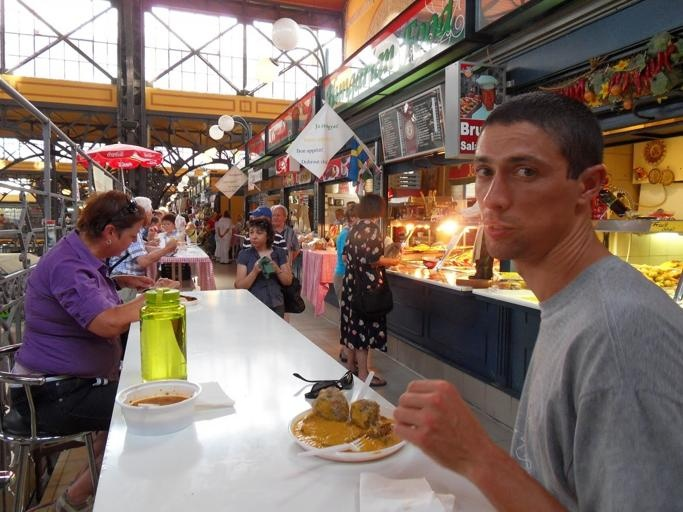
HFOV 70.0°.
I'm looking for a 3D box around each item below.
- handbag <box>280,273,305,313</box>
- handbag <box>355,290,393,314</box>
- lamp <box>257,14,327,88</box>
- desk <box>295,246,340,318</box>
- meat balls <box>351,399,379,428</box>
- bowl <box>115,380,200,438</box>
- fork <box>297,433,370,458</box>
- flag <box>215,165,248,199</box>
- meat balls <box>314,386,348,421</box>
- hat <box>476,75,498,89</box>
[{"bbox_3d":[-0.428,0.367,4.690,0.192,0.386,0.304,9,25,6],"label":"handbag"},{"bbox_3d":[0.317,0.438,4.516,0.350,0.270,0.190,0,7,-9],"label":"handbag"},{"bbox_3d":[-0.825,-3.188,8.121,1.085,1.709,0.476,8,-20,3],"label":"lamp"},{"bbox_3d":[-0.394,0.247,7.075,0.748,0.778,1.090,-2,9,-20],"label":"desk"},{"bbox_3d":[0.070,0.487,1.509,0.068,0.049,0.081,17,28,33],"label":"meat balls"},{"bbox_3d":[-0.573,0.475,1.556,0.175,0.066,0.171,1,7,0],"label":"bowl"},{"bbox_3d":[-0.025,0.556,1.425,0.183,0.035,0.025,-6,9,-19],"label":"fork"},{"bbox_3d":[-2.621,-1.732,11.573,0.677,0.745,1.455,-3,9,-13],"label":"flag"},{"bbox_3d":[-0.035,0.474,1.557,0.101,0.081,0.036,8,9,-3],"label":"meat balls"},{"bbox_3d":[1.227,-1.435,4.050,0.232,0.110,0.097,-7,11,-35],"label":"hat"}]
